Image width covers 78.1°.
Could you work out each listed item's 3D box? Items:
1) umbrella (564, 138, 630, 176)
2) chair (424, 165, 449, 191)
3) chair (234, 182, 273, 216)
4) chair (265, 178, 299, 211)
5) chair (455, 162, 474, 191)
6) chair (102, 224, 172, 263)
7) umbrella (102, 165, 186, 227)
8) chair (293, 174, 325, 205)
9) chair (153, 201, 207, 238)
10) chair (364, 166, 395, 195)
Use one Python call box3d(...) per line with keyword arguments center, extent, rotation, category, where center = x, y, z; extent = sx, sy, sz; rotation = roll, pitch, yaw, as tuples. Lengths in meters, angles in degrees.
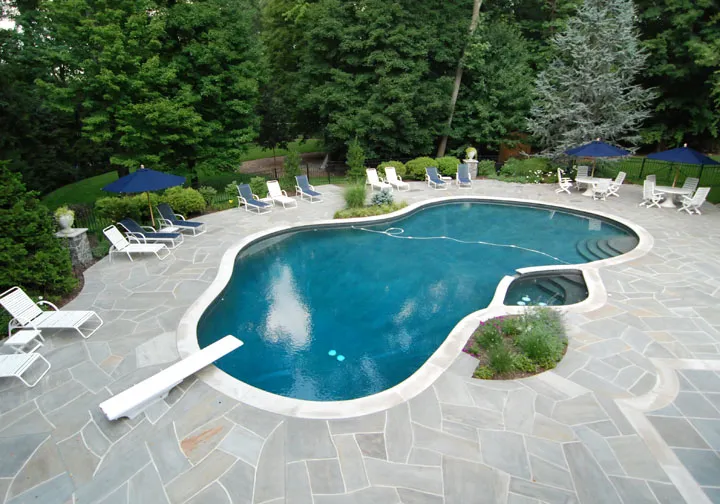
box3d(center=(11.954, -4.525, 22.686), extent=(2.540, 1.679, 2.591), rotation=(11, 26, 38), category="umbrella")
box3d(center=(4.503, -4.239, 25.498), extent=(1.092, 1.023, 1.592), rotation=(-8, 33, -13), category="chair")
box3d(center=(-5.257, -2.506, 21.478), extent=(2.394, 1.210, 1.082), rotation=(30, 41, 30), category="chair")
box3d(center=(-4.014, -2.862, 22.429), extent=(1.059, 1.163, 2.340), rotation=(-21, 43, -32), category="chair")
box3d(center=(5.910, -4.479, 25.697), extent=(0.970, 1.016, 1.674), rotation=(0, 53, 5), category="chair")
box3d(center=(-8.266, -0.384, 16.106), extent=(2.398, 1.120, 1.082), rotation=(2, 24, 11), category="chair")
box3d(center=(-8.108, -2.054, 17.052), extent=(2.806, 1.851, 2.452), rotation=(4, 24, 8), category="umbrella")
box3d(center=(-2.587, -3.335, 23.329), extent=(1.074, 1.139, 1.966), rotation=(-22, 45, -30), category="chair")
box3d(center=(-7.475, -1.308, 18.299), extent=(2.384, 1.083, 1.053), rotation=(15, 33, 5), category="chair")
box3d(center=(0.807, -3.891, 24.640), extent=(0.918, 1.056, 2.085), rotation=(-18, 40, -23), category="chair")
